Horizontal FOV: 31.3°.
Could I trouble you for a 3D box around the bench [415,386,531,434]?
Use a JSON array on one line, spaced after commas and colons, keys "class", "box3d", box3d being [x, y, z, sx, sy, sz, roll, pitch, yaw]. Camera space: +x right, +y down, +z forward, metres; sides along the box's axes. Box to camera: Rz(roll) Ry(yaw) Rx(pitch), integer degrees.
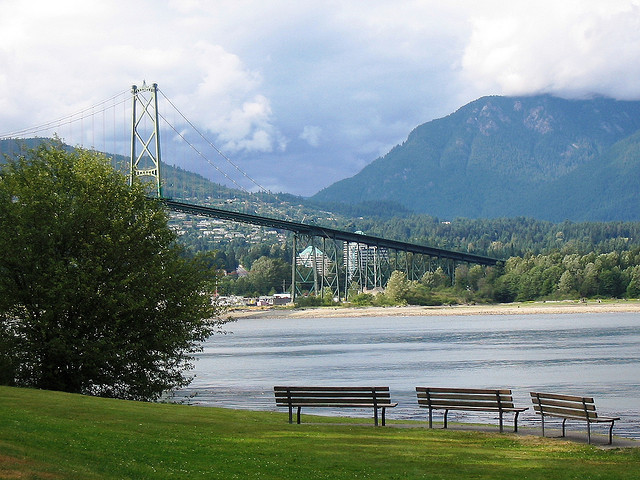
[{"class": "bench", "box3d": [6.930, 7.884, 53.298, 4.777, 1.909, 1.661, -3, -4, 31]}]
